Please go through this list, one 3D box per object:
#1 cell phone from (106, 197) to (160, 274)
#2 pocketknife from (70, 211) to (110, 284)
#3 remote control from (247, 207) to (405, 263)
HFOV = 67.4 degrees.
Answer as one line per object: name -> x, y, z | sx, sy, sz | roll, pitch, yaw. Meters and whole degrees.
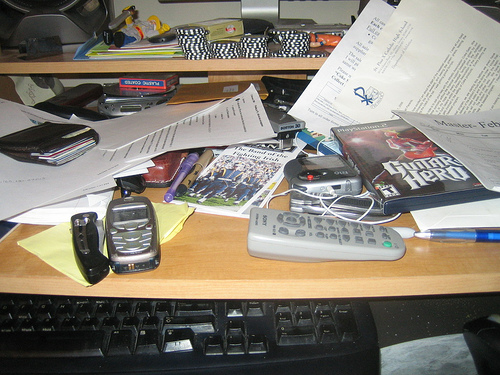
cell phone -> -0.187, 0.063, 0.589 | 0.091, 0.039, 0.127 | -8, 50, -15
pocketknife -> -0.245, 0.089, 0.567 | 0.086, 0.078, 0.115 | -2, 24, -19
remote control -> 0.118, 0.078, 0.580 | 0.240, 0.048, 0.067 | 6, 36, -3
